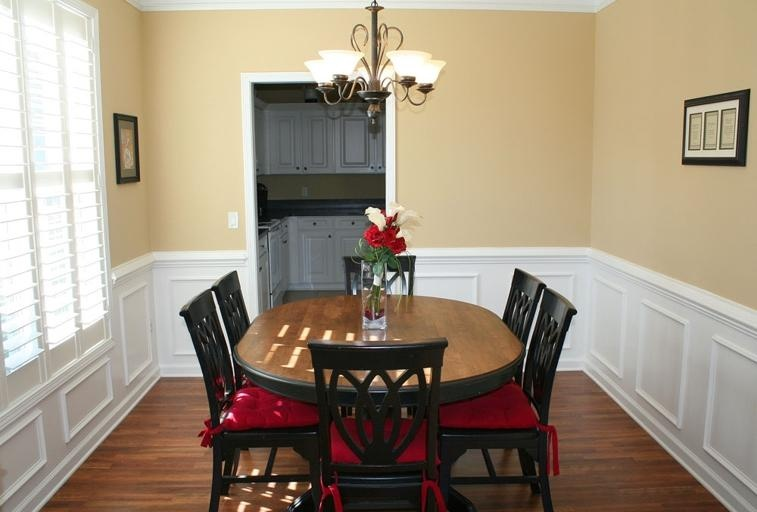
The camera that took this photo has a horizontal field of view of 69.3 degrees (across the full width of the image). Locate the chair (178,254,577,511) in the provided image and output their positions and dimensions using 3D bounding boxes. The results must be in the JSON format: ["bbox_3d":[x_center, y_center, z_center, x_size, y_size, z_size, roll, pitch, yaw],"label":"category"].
[{"bbox_3d":[0.083,0.939,3.372,1.698,1.167,1.663,1,10,3],"label":"chair"}]
